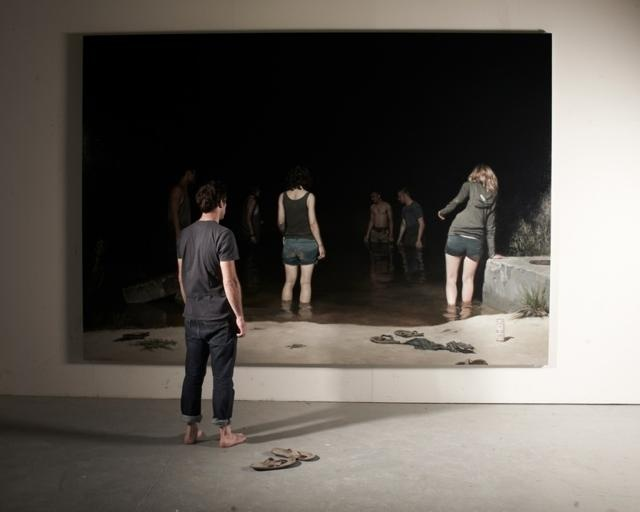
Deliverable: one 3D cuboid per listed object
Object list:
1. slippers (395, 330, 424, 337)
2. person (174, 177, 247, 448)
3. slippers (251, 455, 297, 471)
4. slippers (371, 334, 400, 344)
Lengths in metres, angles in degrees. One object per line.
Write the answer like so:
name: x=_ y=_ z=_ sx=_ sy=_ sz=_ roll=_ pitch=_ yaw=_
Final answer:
slippers: x=0.850 y=0.747 z=5.437 sx=0.194 sy=0.050 sz=0.105 roll=-2 pitch=3 yaw=-1
person: x=-0.851 y=0.455 z=4.387 sx=0.528 sy=2.047 sz=0.286 roll=0 pitch=0 yaw=1
slippers: x=-0.324 y=1.503 z=4.093 sx=0.203 sy=0.066 sz=0.115 roll=0 pitch=2 yaw=-12
slippers: x=0.612 y=0.803 z=5.438 sx=0.218 sy=0.058 sz=0.098 roll=3 pitch=7 yaw=0
